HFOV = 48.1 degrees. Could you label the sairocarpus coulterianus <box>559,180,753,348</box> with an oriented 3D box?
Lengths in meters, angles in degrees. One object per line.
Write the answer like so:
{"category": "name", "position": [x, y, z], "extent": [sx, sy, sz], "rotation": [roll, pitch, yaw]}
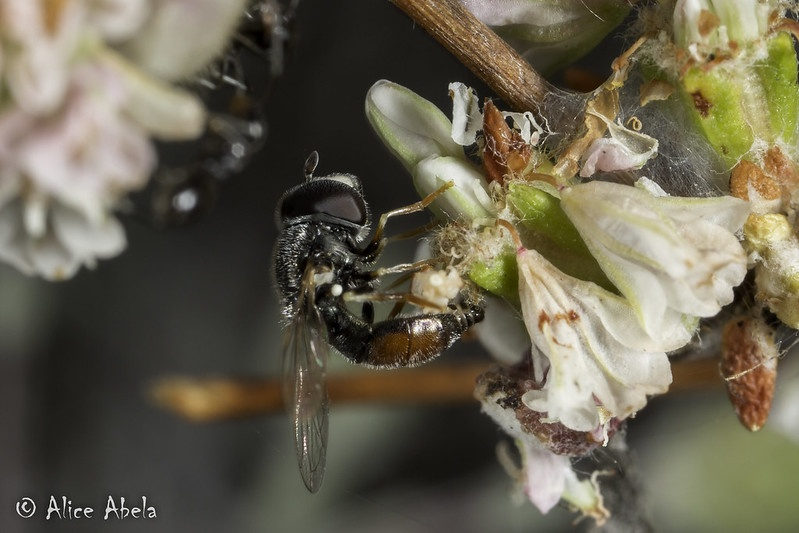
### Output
{"category": "sairocarpus coulterianus", "position": [0.314, -0.018, 1.120], "extent": [0.246, 0.159, 0.132], "rotation": [21, 42, -6]}

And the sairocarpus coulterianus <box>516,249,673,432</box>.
{"category": "sairocarpus coulterianus", "position": [0.237, 0.095, 1.138], "extent": [0.183, 0.066, 0.218], "rotation": [-31, 94, -2]}
